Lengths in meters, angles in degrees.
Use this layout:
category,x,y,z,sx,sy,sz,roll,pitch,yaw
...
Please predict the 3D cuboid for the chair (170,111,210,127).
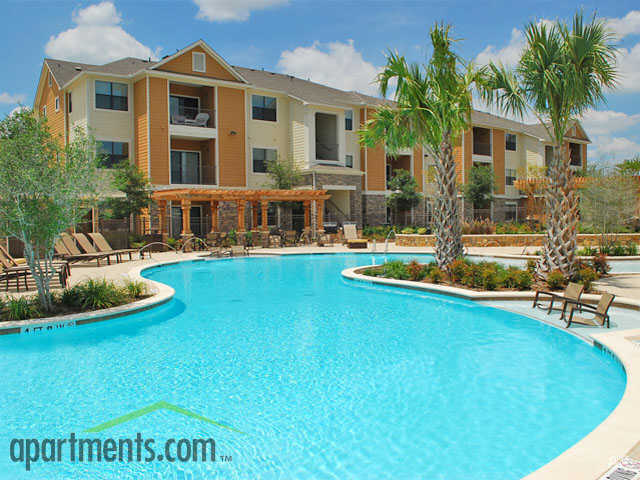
category,x,y,z,sx,sy,sz,roll,pitch,yaw
chair,-8.302,-7.795,34.969,2.671,0.961,1.470,-7,13,-30
